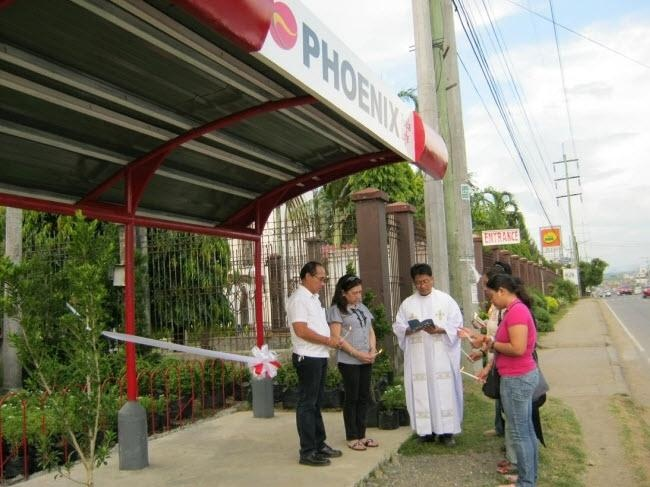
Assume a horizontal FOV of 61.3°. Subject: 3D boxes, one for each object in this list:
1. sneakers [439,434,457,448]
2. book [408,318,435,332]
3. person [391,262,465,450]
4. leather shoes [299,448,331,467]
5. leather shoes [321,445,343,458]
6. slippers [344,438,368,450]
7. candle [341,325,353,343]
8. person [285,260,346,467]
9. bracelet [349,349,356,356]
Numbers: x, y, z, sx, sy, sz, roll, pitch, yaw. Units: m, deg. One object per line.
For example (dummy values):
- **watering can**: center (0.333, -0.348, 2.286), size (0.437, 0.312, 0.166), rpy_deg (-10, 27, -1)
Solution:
- **sneakers**: center (1.592, 2.545, 7.116), size (0.102, 0.131, 0.276), rpy_deg (-1, -9, -35)
- **book**: center (1.224, 1.038, 7.010), size (0.323, 0.156, 0.246), rpy_deg (-8, -9, 12)
- **person**: center (1.348, 1.343, 7.087), size (0.870, 2.153, 0.409), rpy_deg (-7, -9, 12)
- **leather shoes**: center (-0.105, 2.531, 6.574), size (0.398, 0.197, 0.153), rpy_deg (-2, 0, 15)
- **leather shoes**: center (0.085, 2.553, 6.753), size (0.252, 0.108, 0.112), rpy_deg (0, -5, 8)
- **slippers**: center (0.394, 2.549, 7.005), size (0.213, 0.090, 0.105), rpy_deg (-11, -13, 41)
- **candle**: center (0.277, 1.136, 6.934), size (0.041, 0.179, 0.119), rpy_deg (15, -8, -43)
- **person**: center (-0.140, 1.440, 6.758), size (0.552, 2.397, 0.569), rpy_deg (-4, -9, -6)
- **bracelet**: center (0.343, 1.350, 6.815), size (0.070, 0.072, 0.021), rpy_deg (5, 13, 42)
